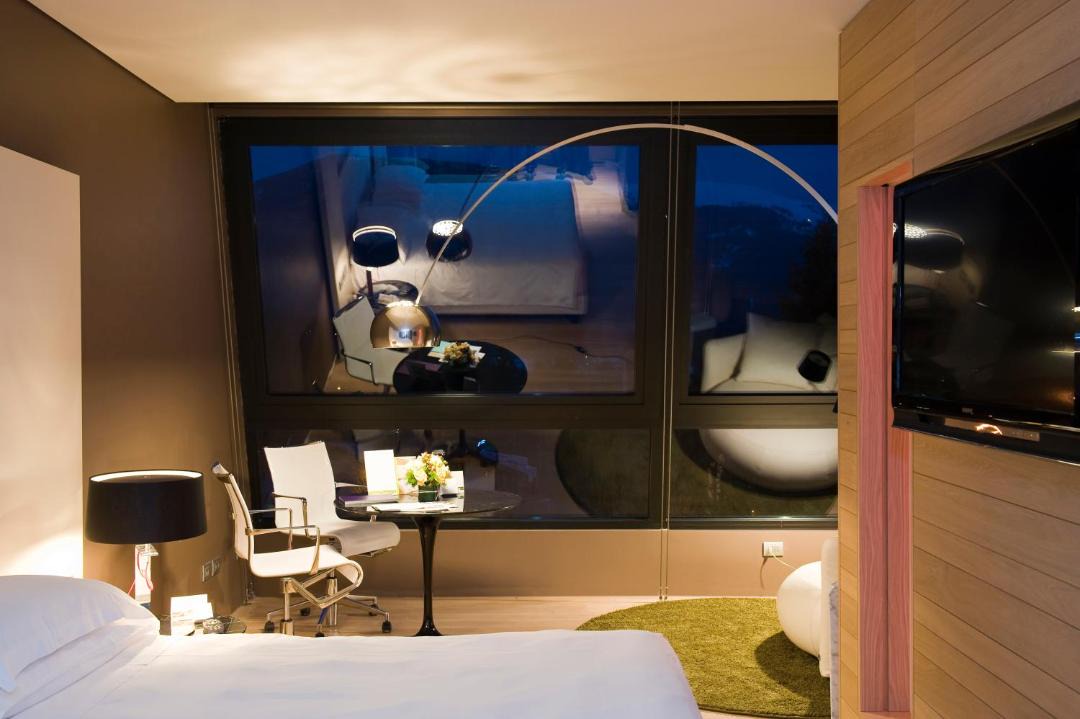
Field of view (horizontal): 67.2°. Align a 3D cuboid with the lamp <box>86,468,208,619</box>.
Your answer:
[{"bbox_3d":[-2.165,0.948,4.409,0.528,0.765,0.527,3,6,11],"label":"lamp"}]

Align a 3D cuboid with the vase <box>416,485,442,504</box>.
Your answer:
[{"bbox_3d":[-0.709,0.868,5.253,0.164,0.108,0.087,0,13,-2],"label":"vase"}]

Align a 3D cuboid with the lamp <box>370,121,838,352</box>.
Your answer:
[{"bbox_3d":[0.512,-0.985,5.966,3.489,1.773,0.575,1,43,-4],"label":"lamp"}]

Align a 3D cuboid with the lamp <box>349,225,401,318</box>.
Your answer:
[{"bbox_3d":[-1.219,-0.744,6.006,0.378,0.576,0.399,14,24,32],"label":"lamp"}]

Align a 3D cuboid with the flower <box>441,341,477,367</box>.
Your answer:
[{"bbox_3d":[-0.598,-0.036,6.183,0.190,0.059,0.192,2,43,-2],"label":"flower"}]

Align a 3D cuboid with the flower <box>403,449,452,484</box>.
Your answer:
[{"bbox_3d":[-0.728,0.736,5.374,0.216,0.152,0.216,1,28,14],"label":"flower"}]

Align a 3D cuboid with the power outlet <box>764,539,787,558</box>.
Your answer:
[{"bbox_3d":[1.761,1.410,6.071,0.194,0.134,0.103,-1,0,3],"label":"power outlet"}]

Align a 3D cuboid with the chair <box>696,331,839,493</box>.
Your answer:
[{"bbox_3d":[1.794,0.285,6.451,1.122,1.023,1.113,3,13,18],"label":"chair"}]

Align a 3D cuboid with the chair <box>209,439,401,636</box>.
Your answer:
[{"bbox_3d":[-1.638,1.249,6.015,1.251,1.714,1.274,-2,1,18],"label":"chair"}]

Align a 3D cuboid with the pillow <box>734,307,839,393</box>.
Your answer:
[{"bbox_3d":[1.830,-0.052,5.899,0.749,0.525,0.222,3,1,-1],"label":"pillow"}]

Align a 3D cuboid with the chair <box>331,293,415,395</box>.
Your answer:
[{"bbox_3d":[-1.317,-0.122,6.142,0.710,0.708,0.474,4,21,-7],"label":"chair"}]
